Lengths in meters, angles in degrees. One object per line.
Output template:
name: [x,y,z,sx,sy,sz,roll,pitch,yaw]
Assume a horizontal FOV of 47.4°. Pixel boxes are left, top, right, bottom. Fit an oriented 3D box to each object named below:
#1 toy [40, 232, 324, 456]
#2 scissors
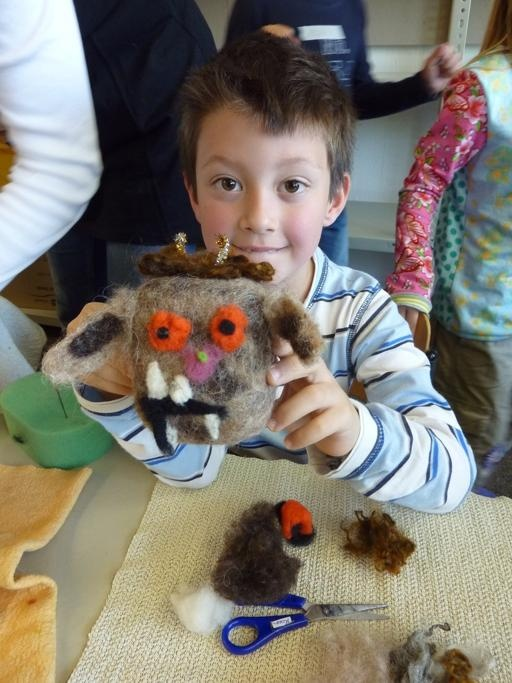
toy: [-0.042,0.002,0.503,0.199,0.122,0.190,19,47,26]
scissors: [0.050,0.285,0.590,0.134,0.008,0.062,-4,17,3]
